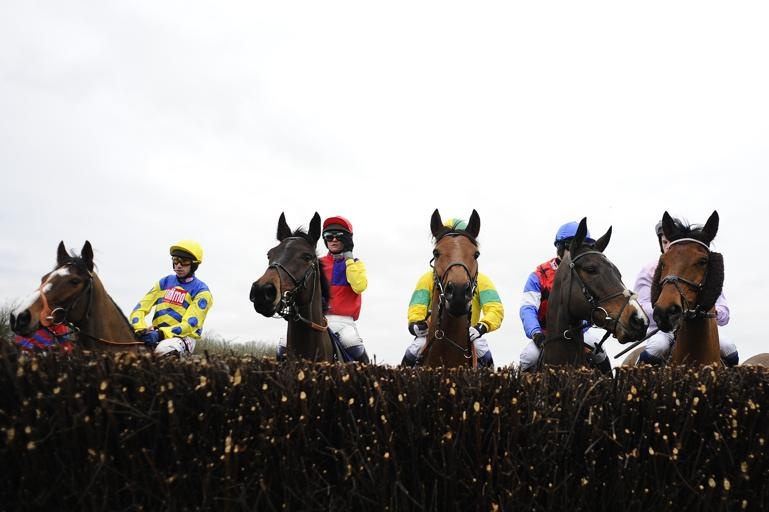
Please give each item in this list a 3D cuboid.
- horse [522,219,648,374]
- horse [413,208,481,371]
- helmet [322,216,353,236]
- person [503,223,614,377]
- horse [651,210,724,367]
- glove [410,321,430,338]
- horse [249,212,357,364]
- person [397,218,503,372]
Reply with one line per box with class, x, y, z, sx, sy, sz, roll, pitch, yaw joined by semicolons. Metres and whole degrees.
horse;1.927;0.459;8.994;0.959;1.713;1.714;0;5;0
horse;0.683;0.259;9.275;0.506;1.610;2.093;4;8;4
helmet;-0.486;-0.269;9.384;0.235;0.213;0.351;1;-15;13
person;1.907;0.859;9.902;0.954;2.395;0.842;6;-5;-4
horse;2.915;0.362;8.718;0.634;1.498;0.890;1;5;19
glove;0.343;0.755;9.133;0.163;0.080;0.132;8;-41;11
horse;-0.817;0.371;8.688;0.684;1.469;1.154;1;5;11
person;0.690;0.563;9.026;0.736;1.306;1.800;1;-36;5
